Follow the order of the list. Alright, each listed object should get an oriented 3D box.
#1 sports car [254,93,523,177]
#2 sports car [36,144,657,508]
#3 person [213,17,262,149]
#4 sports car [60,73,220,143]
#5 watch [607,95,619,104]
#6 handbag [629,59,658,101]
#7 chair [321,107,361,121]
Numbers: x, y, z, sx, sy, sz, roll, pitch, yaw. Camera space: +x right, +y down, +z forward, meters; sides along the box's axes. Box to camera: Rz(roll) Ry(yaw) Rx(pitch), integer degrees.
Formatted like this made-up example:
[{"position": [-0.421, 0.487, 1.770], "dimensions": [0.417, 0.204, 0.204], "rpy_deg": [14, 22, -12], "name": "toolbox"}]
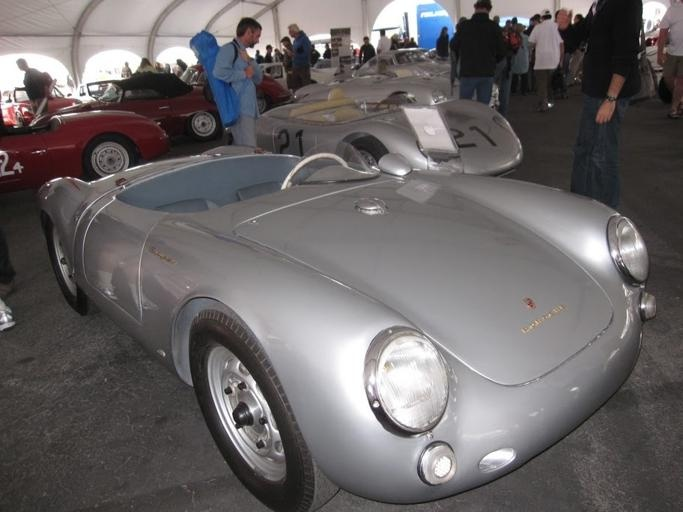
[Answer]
[{"position": [0.276, -1.203, 4.322], "dimensions": [2.360, 0.732, 1.321], "rpy_deg": [9, 30, 28], "name": "sports car"}, {"position": [-0.334, 0.083, 2.253], "dimensions": [1.495, 1.010, 2.730], "rpy_deg": [-19, 26, -41], "name": "sports car"}, {"position": [-1.083, -1.789, 4.819], "dimensions": [0.414, 1.324, 0.806], "rpy_deg": [-3, 22, 2], "name": "person"}, {"position": [-3.302, -2.551, 8.221], "dimensions": [2.885, 1.204, 1.617], "rpy_deg": [-6, 16, -33], "name": "sports car"}, {"position": [1.988, -1.154, 3.345], "dimensions": [0.054, 0.024, 0.055], "rpy_deg": [-3, 9, -21], "name": "watch"}, {"position": [2.355, -1.354, 3.518], "dimensions": [0.126, 0.331, 0.465], "rpy_deg": [12, 29, 34], "name": "handbag"}, {"position": [0.007, -1.506, 4.850], "dimensions": [0.377, 0.156, 0.271], "rpy_deg": [-17, 24, -35], "name": "chair"}]
